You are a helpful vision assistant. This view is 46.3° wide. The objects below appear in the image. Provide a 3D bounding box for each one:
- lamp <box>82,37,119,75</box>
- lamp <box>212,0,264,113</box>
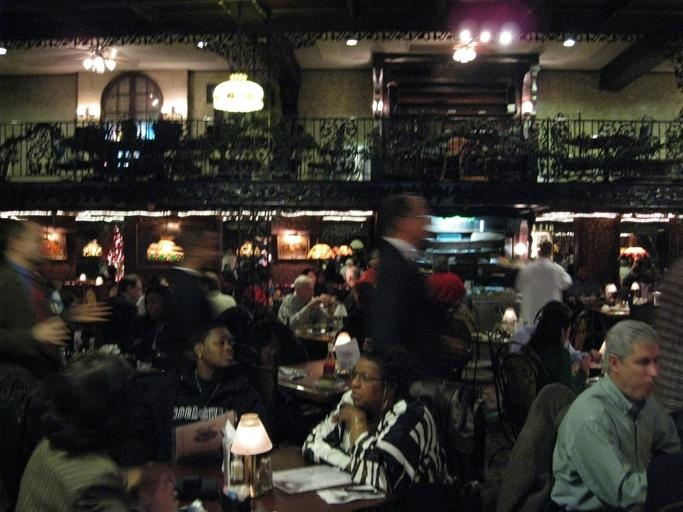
[{"bbox_3d":[-5.107,-4.186,16.926,0.704,0.548,0.725,-1,-7,-26],"label":"lamp"},{"bbox_3d":[-1.787,-3.419,13.779,0.806,1.896,1.439,1,4,-10],"label":"lamp"}]
